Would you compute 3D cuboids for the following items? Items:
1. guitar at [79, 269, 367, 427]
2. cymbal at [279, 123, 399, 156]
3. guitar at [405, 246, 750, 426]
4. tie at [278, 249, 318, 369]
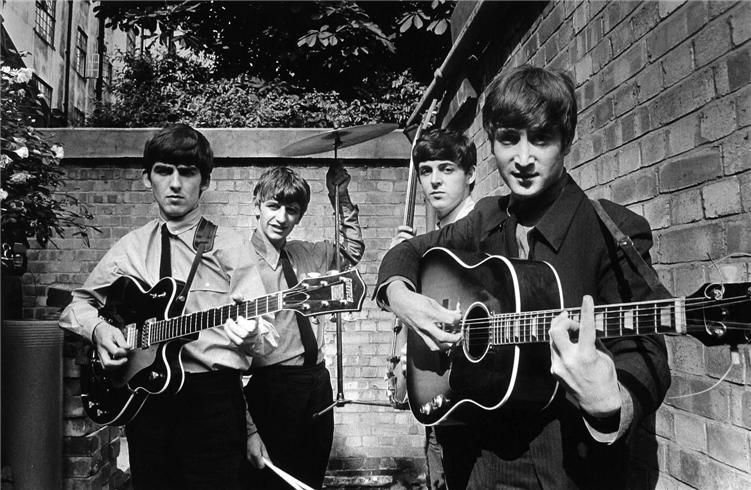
[{"bbox_3d":[-1.100,0.646,4.640,1.723,1.023,0.322,-1,-5,24],"label":"guitar"},{"bbox_3d":[-0.309,-1.074,6.753,0.633,0.175,0.686,-11,6,15],"label":"cymbal"},{"bbox_3d":[0.852,0.460,3.754,0.237,0.875,1.705,9,-8,-37],"label":"guitar"},{"bbox_3d":[-0.584,0.458,5.646,0.283,0.853,0.080,-11,-2,-23],"label":"tie"}]
